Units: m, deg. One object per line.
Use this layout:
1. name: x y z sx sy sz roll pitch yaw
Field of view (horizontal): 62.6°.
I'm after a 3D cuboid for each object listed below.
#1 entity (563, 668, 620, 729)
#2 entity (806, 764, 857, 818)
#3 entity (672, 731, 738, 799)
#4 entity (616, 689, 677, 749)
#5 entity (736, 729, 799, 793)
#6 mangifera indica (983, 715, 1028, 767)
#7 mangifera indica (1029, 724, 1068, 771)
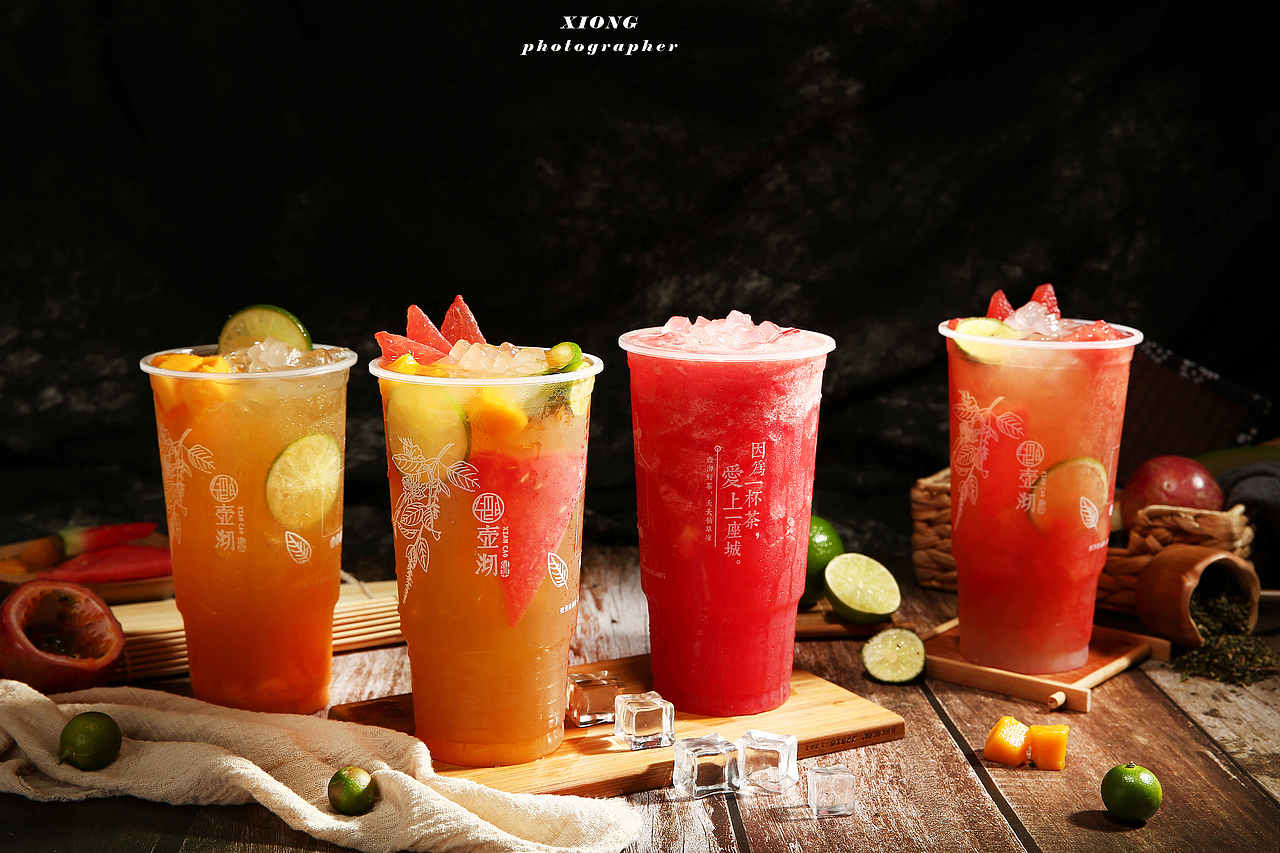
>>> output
1. entity: -0.070 0.405 1.575 0.081 0.049 0.073 -3 5 -18
2. entity: 0.250 0.479 1.376 0.072 0.058 0.066 -2 3 -17
3. entity: 0.091 0.467 1.453 0.106 0.066 0.096 0 -4 16
4. entity: 0.013 0.420 1.531 0.082 0.066 0.075 -1 2 -28
5. entity: 0.172 0.455 1.425 0.088 0.072 0.082 0 -1 19
6. mangifera indica: 0.514 0.441 1.480 0.068 0.052 0.062 0 -1 9
7. mangifera indica: 0.569 0.448 1.469 0.066 0.062 0.058 -1 2 8
